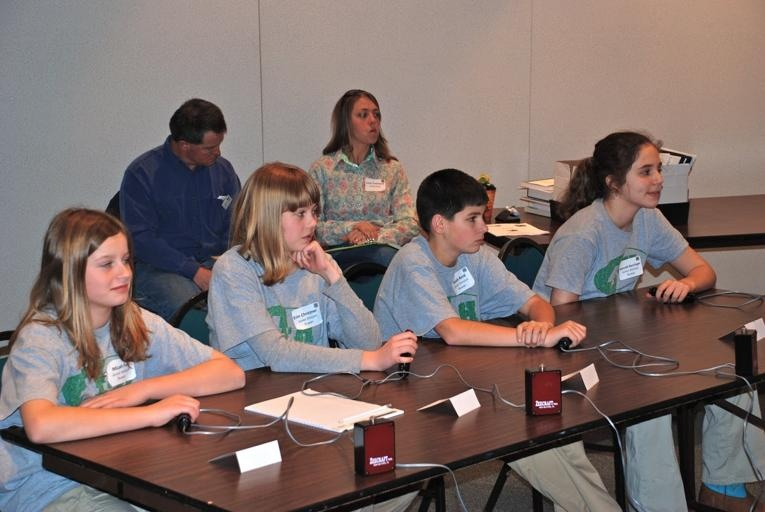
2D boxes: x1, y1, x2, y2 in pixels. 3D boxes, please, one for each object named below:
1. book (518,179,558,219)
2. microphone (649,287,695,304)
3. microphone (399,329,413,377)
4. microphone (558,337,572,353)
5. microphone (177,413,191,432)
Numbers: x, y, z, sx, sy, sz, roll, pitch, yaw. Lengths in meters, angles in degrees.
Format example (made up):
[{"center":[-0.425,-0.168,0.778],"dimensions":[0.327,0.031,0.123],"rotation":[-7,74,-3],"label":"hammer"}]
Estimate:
[{"center":[1.241,-0.456,4.702],"dimensions":[0.305,0.158,0.314],"rotation":[-11,19,-38],"label":"book"},{"center":[1.413,0.189,2.927],"dimensions":[0.183,0.048,0.086],"rotation":[10,40,7],"label":"microphone"},{"center":[0.090,0.350,2.179],"dimensions":[0.041,0.167,0.049],"rotation":[1,-12,9],"label":"microphone"},{"center":[0.723,0.347,2.358],"dimensions":[0.052,0.051,0.026],"rotation":[-7,-18,6],"label":"microphone"},{"center":[-0.597,0.500,1.808],"dimensions":[0.044,0.048,0.041],"rotation":[-7,10,-27],"label":"microphone"}]
